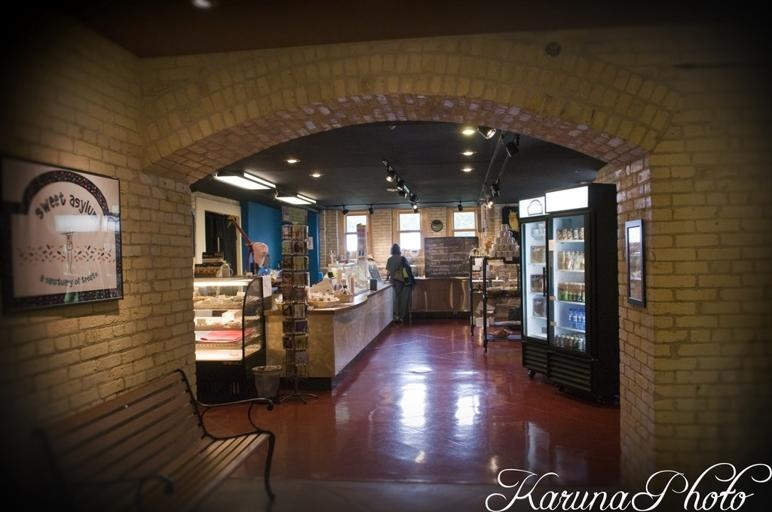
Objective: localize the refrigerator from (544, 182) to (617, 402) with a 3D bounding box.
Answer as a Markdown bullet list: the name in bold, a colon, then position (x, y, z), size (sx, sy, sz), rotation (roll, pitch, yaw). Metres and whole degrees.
- **refrigerator**: position (2.525, 0.468, 6.866), size (0.620, 2.745, 1.148), rotation (-4, 9, -19)

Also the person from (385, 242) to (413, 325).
- **person**: position (0.376, 0.731, 13.066), size (0.677, 1.956, 0.543), rotation (-4, 9, -23)

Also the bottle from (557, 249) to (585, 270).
- **bottle**: position (2.457, 0.087, 7.069), size (0.229, 0.247, 0.380), rotation (1, -2, -6)

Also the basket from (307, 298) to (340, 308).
- **basket**: position (-0.905, 0.714, 7.512), size (0.357, 0.140, 0.201), rotation (-2, 8, -11)

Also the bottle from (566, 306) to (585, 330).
- **bottle**: position (2.512, 0.858, 7.043), size (0.195, 0.354, 0.385), rotation (2, -3, -3)

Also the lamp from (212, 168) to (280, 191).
- **lamp**: position (-2.720, -1.464, 10.550), size (1.007, 0.325, 2.079), rotation (-2, 7, -8)

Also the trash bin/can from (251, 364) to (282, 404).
- **trash bin/can**: position (-1.474, 1.684, 6.791), size (0.437, 0.405, 0.420), rotation (1, -7, -6)

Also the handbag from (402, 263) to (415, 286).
- **handbag**: position (0.581, 0.522, 12.997), size (0.143, 0.637, 0.445), rotation (3, 9, 22)

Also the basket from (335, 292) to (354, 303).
- **basket**: position (-0.618, 0.683, 8.105), size (0.143, 0.175, 0.305), rotation (6, 10, 38)

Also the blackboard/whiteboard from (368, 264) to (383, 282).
- **blackboard/whiteboard**: position (-0.239, 0.407, 11.811), size (0.104, 0.340, 0.387), rotation (-1, -17, 15)
